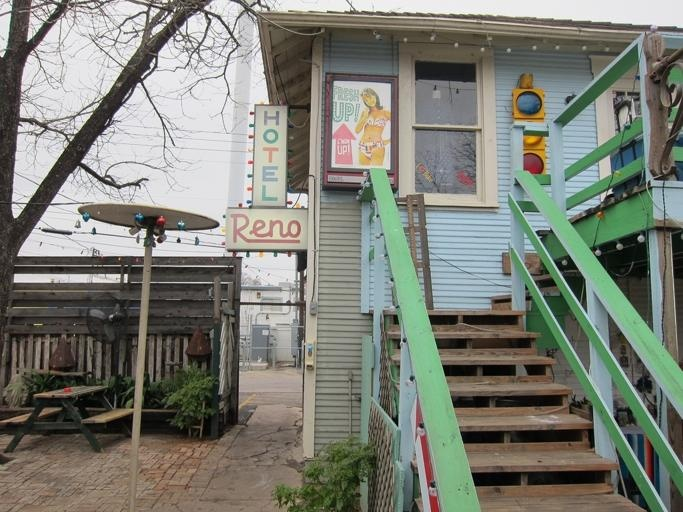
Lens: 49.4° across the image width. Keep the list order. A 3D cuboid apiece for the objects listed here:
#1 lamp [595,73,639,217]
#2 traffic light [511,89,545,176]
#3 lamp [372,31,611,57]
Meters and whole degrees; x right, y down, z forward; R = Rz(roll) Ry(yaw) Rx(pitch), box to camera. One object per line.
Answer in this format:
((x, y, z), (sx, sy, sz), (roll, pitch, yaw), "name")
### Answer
((4.066, -1.810, 10.887), (0.626, 1.944, 1.913), (2, 4, 21), "lamp")
((2.873, -1.824, 11.184), (0.465, 1.432, 0.251), (-1, 25, 17), "traffic light")
((2.338, -3.207, 11.121), (3.585, 0.286, 0.511), (0, 4, -1), "lamp")
